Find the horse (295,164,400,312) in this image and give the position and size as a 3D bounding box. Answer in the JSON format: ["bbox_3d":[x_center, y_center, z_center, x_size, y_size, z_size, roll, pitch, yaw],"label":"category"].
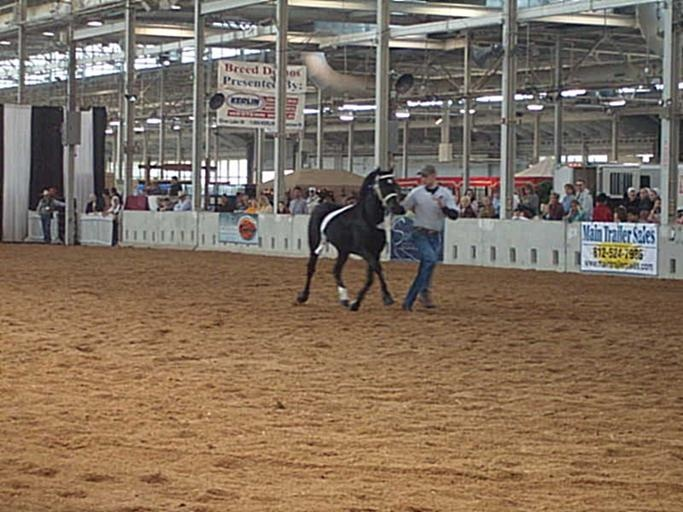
[{"bbox_3d":[0.225,-0.334,36.844,1.084,3.583,3.954,-1,0,-36],"label":"horse"}]

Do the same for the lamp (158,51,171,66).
[{"bbox_3d":[-8.119,-9.079,67.868,0.352,0.544,0.519,2,-6,-25],"label":"lamp"}]

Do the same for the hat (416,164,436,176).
[{"bbox_3d":[2.137,-2.034,35.804,0.371,0.219,0.265,16,-7,-26],"label":"hat"}]

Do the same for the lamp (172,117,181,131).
[{"bbox_3d":[-10.230,-8.217,91.475,0.369,0.780,0.388,-2,-5,26],"label":"lamp"}]

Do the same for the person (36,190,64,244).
[{"bbox_3d":[-10.171,-1.340,51.689,0.870,1.930,1.239,1,1,-15],"label":"person"}]
